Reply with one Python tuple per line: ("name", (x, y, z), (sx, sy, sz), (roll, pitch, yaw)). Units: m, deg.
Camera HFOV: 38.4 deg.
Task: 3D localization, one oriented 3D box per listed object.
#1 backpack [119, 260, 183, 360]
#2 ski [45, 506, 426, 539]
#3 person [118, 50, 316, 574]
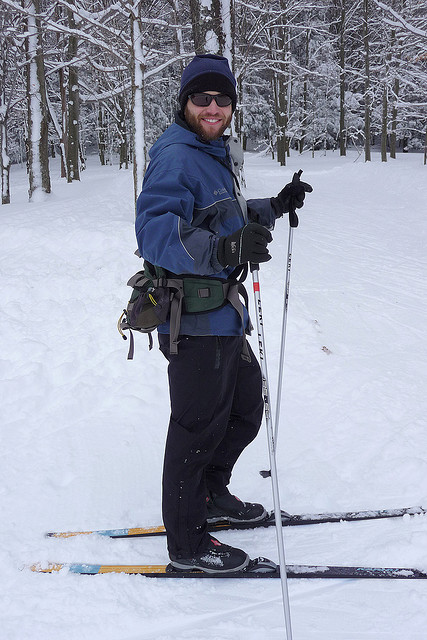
("backpack", (-0.267, -0.039, 2.707), (0.251, 0.435, 0.291), (14, -14, -25))
("ski", (0.173, 1.053, 3.183), (1.936, 0.073, 0.142), (-2, 9, -7))
("person", (-0.061, -0.022, 2.808), (0.630, 2.340, 0.986), (0, 10, 3))
